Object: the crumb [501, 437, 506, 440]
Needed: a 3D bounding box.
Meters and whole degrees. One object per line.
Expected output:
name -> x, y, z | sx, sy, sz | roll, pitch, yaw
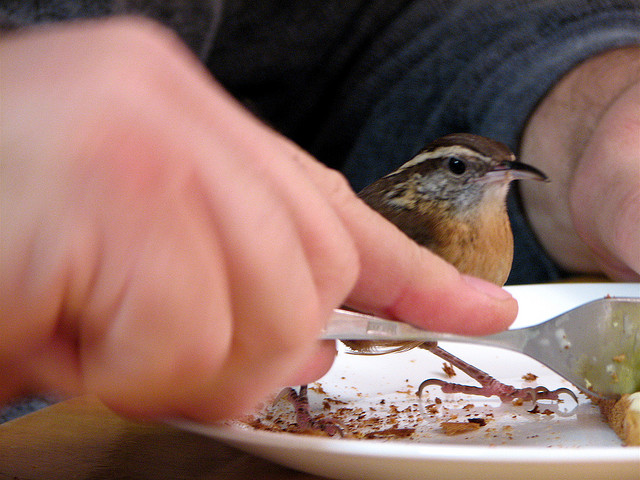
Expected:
crumb -> 0.366, 0.398, 1.246 | 0.009, 0.002, 0.015 | 1, 5, 8
